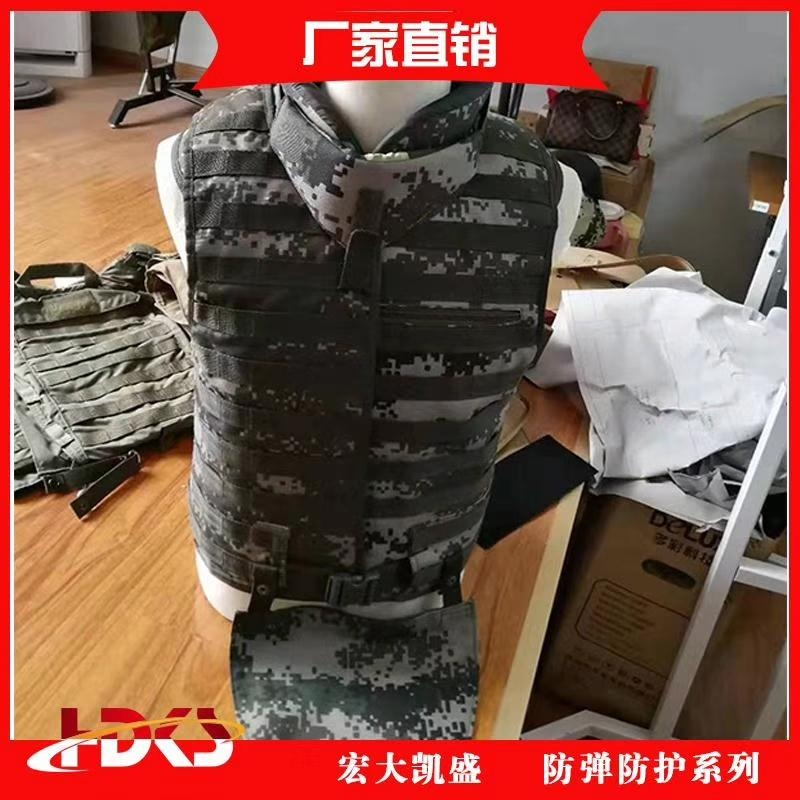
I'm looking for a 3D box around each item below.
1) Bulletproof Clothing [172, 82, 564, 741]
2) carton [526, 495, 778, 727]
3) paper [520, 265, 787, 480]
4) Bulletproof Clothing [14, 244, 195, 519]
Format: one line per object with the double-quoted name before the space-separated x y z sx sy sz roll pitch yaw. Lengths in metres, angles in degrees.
"Bulletproof Clothing" -0.027 0.020 0.872 0.516 0.819 0.433 -3 25 -15
"carton" 0.479 0.455 1.478 0.362 0.343 0.468 8 64 51
"paper" 0.531 -0.047 1.361 0.471 0.162 0.409 -14 62 11
"Bulletproof Clothing" -0.814 -0.196 1.709 0.393 0.497 0.169 -14 71 -33
